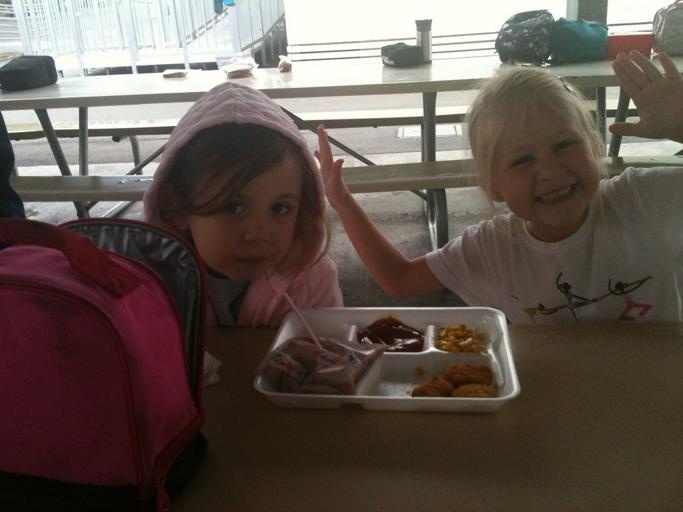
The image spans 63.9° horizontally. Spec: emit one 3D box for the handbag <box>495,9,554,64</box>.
[{"bbox_3d":[1.018,-1.202,3.131,0.336,0.260,0.326,7,-18,9],"label":"handbag"}]

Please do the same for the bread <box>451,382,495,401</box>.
[{"bbox_3d":[0.226,0.227,0.942,0.045,0.015,0.035,-2,5,30],"label":"bread"}]

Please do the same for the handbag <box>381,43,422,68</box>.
[{"bbox_3d":[0.396,-1.271,3.535,0.196,0.111,0.218,-10,29,-8],"label":"handbag"}]
